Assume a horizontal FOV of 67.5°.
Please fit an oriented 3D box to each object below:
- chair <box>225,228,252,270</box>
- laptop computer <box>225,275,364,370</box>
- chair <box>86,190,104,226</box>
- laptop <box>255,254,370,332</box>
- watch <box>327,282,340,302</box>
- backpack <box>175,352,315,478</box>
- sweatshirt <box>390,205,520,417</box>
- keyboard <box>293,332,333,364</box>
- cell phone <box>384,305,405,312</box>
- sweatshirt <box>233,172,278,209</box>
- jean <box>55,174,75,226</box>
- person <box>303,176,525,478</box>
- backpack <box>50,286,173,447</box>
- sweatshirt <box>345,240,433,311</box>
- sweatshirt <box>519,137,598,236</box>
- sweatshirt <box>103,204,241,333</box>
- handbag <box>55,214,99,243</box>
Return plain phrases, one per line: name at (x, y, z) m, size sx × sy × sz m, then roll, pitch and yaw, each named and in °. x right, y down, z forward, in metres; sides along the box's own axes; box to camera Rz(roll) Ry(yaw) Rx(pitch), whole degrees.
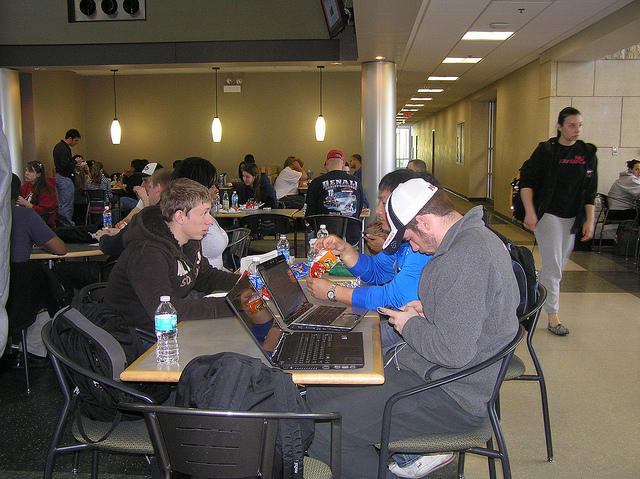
chair at (-0.711, 0.049, 4.172) m, size 0.248 × 0.332 × 0.266 m, roll -7°, pitch 33°, yaw 5°
laptop computer at (-0.123, 0.293, 2.019) m, size 0.392 × 0.257 × 0.416 m, roll -4°, pitch 14°, yaw 5°
chair at (-4.096, -0.564, 8.873) m, size 0.367 × 0.661 × 0.476 m, roll -1°, pitch 0°, yaw -5°
laptop at (-0.026, 0.253, 2.387) m, size 0.461 × 0.300 × 0.446 m, roll 0°, pitch 5°, yaw 15°
watch at (0.065, 0.291, 2.608) m, size 0.056 × 0.096 × 0.091 m, roll 18°, pitch 7°, yaw 21°
backpack at (-0.252, 0.596, 1.601) m, size 0.464 × 0.401 × 0.188 m, roll -2°, pitch 11°, yaw -5°
sweatshirt at (0.550, 0.250, 1.962) m, size 0.520 × 0.732 × 0.348 m, roll 3°, pitch 12°, yaw 18°
keyboard at (-0.036, 0.457, 2.003) m, size 0.015 × 0.141 × 0.335 m, roll -2°, pitch -13°, yaw 32°
cell phone at (0.350, 0.328, 2.243) m, size 0.062 × 0.012 × 0.116 m, roll 9°, pitch -8°, yaw 38°
sweatshirt at (-0.993, -0.768, 7.504) m, size 0.494 × 0.565 × 1.475 m, roll -3°, pitch 11°, yaw -11°
jean at (-4.939, -0.831, 9.307) m, size 0.313 × 0.877 × 0.468 m, roll -7°, pitch 13°, yaw -27°
person at (0.442, 0.371, 1.995) m, size 0.912 × 1.228 × 0.414 m, roll 1°, pitch 10°, yaw 0°
backpack at (-0.907, 0.523, 2.131) m, size 0.508 × 0.567 × 0.472 m, roll 6°, pitch 17°, yaw 13°
sweatshirt at (0.368, 0.196, 2.557) m, size 0.405 × 0.211 × 0.307 m, roll -7°, pitch 13°, yaw 0°
sweatshirt at (2.188, -0.545, 4.341) m, size 0.674 × 0.783 × 0.352 m, roll 9°, pitch 24°, yaw 17°
sweatshirt at (-0.687, 0.123, 2.556) m, size 0.863 × 0.563 × 0.744 m, roll -3°, pitch 12°, yaw -34°
handbag at (-3.066, -0.156, 6.029) m, size 0.646 × 0.221 × 0.525 m, roll 5°, pitch 6°, yaw 2°
